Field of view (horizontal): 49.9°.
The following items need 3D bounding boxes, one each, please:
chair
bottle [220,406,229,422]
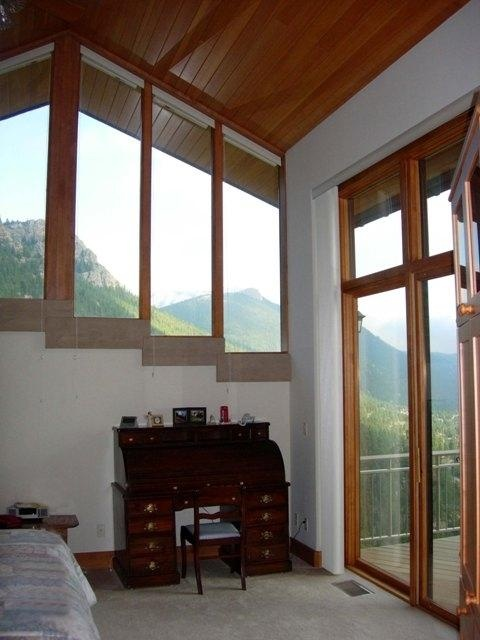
[{"bbox_3d":[-0.209,1.567,3.809,0.381,0.827,0.464,0,1,-10],"label":"chair"},{"bbox_3d":[-0.149,0.844,4.603,0.089,0.210,0.099,2,1,-4],"label":"bottle"}]
